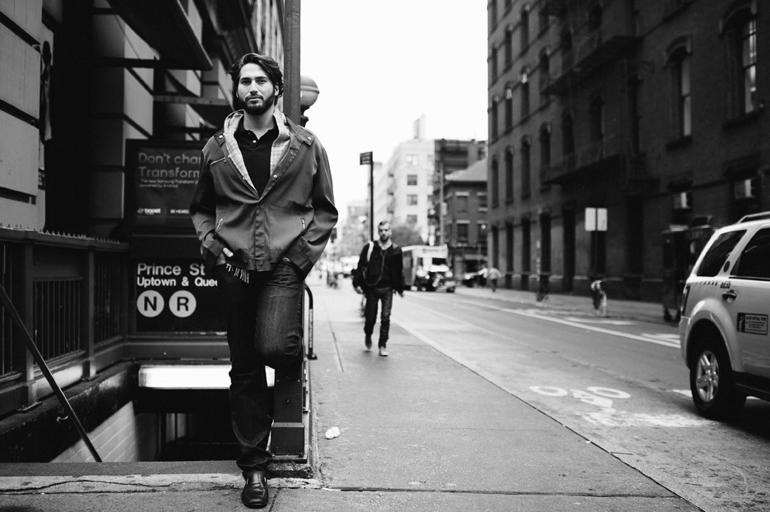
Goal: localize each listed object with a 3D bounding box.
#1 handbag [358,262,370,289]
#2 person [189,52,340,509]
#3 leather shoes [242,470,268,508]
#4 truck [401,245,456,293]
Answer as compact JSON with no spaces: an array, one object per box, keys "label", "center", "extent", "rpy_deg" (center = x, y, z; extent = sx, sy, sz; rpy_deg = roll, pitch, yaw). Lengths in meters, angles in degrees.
[{"label":"handbag","center":[-0.407,0.401,13.570],"extent":[0.136,0.503,0.259],"rpy_deg":[0,3,-15]},{"label":"person","center":[-1.140,0.155,6.853],"extent":[1.286,4.201,0.724],"rpy_deg":[0,3,-13]},{"label":"leather shoes","center":[-1.199,2.146,6.649],"extent":[0.239,0.296,0.214],"rpy_deg":[0,3,-10]},{"label":"truck","center":[3.153,0.671,45.930],"extent":[1.747,2.976,5.429],"rpy_deg":[-2,-6,-9]}]
